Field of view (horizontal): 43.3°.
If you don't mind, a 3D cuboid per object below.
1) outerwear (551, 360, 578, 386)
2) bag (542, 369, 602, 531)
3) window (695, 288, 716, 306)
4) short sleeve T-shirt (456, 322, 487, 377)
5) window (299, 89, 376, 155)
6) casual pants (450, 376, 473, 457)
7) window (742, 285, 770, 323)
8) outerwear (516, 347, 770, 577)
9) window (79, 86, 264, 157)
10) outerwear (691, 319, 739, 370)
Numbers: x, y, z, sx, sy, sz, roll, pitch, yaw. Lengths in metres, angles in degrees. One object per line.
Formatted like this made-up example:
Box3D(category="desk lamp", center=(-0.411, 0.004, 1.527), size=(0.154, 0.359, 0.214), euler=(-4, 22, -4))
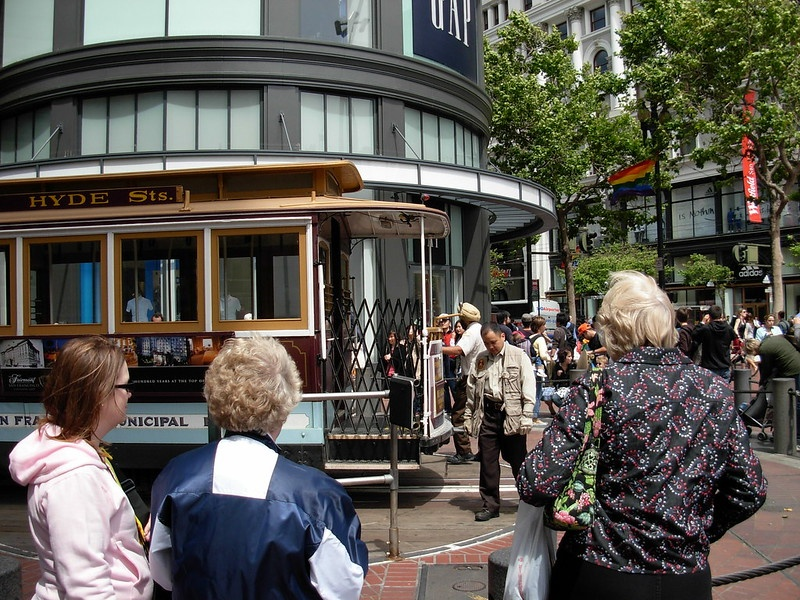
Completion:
Box3D(category="outerwear", center=(3.150, 1.459, 19.490), size=(0.559, 0.747, 0.490), euler=(0, -11, 5))
Box3D(category="bag", center=(1.513, 1.278, 8.427), size=(0.505, 1.278, 0.263), euler=(-6, 10, -31))
Box3D(category="window", center=(14.426, -0.150, 47.217), size=(0.397, 0.822, 0.849), euler=(0, 2, -5))
Box3D(category="short sleeve T-shirt", center=(1.046, 0.718, 14.410), size=(0.282, 0.590, 1.038), euler=(0, 0, 9))
Box3D(category="window", center=(-1.581, -4.302, 24.241), size=(1.748, 1.262, 0.139), euler=(-2, 10, -33))
Box3D(category="casual pants", center=(1.019, 1.731, 16.281), size=(0.381, 1.464, 0.353), euler=(-19, -40, 27))
Box3D(category="window", center=(14.888, 0.159, 41.764), size=(0.242, 1.899, 1.564), euler=(-4, 2, -26))
Box3D(category="outerwear", center=(2.124, 1.362, 8.776), size=(2.028, 1.751, 1.058), euler=(4, -2, -8))
Box3D(category="window", center=(-5.377, -4.197, 23.719), size=(4.263, 1.416, 0.588), euler=(0, 8, 8))
Box3D(category="outerwear", center=(5.552, 0.776, 17.626), size=(0.825, 0.849, 0.593), euler=(-1, 0, -11))
